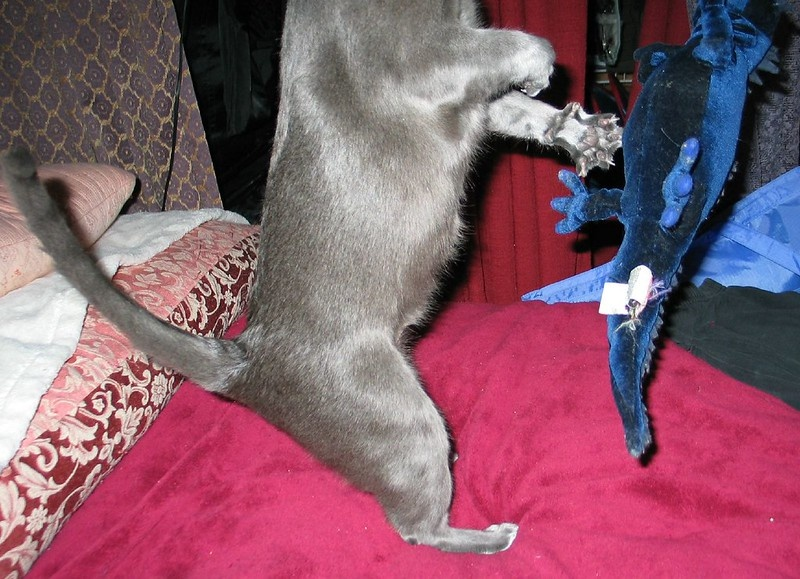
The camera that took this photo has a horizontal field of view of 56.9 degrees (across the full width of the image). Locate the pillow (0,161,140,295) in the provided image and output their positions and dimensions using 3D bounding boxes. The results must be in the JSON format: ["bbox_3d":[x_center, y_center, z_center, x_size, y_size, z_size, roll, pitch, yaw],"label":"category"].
[{"bbox_3d":[-1.177,-0.162,2.661,0.422,0.146,0.473,-8,38,41],"label":"pillow"}]
